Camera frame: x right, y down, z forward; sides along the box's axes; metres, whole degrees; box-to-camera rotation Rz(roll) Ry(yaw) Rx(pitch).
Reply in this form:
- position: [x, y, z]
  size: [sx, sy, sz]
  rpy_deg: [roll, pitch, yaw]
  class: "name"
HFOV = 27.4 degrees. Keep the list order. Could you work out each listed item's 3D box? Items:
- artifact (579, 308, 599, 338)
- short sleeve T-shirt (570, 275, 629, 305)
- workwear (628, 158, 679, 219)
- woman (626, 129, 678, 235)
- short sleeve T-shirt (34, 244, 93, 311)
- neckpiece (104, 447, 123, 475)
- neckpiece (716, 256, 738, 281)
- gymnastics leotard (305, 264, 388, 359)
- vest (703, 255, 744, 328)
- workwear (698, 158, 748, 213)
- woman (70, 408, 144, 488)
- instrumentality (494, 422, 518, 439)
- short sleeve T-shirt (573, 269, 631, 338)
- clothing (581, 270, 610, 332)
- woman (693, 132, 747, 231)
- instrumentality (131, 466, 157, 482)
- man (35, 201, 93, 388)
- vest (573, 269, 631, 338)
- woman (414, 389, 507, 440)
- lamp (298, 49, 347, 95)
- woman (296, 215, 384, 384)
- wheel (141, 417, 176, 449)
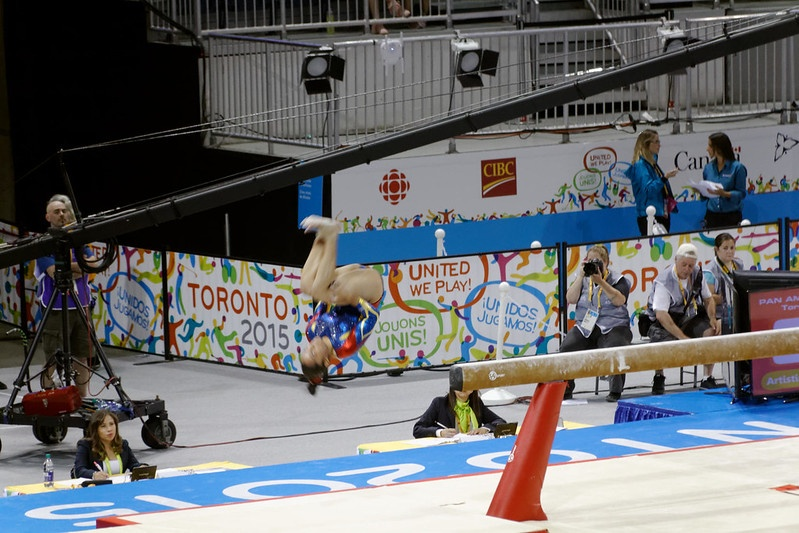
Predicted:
- position: [2.508, 0.759, 21.918]
  size: [0.232, 0.355, 0.089]
  rpy_deg: [23, 1, 31]
  class: "artifact"
- position: [2.617, 0.319, 21.931]
  size: [0.481, 0.504, 0.198]
  rpy_deg: [10, 53, 22]
  class: "short sleeve T-shirt"
- position: [3.779, -1.212, 24.746]
  size: [0.706, 0.856, 0.859]
  rpy_deg: [-5, 16, 13]
  class: "workwear"
- position: [3.764, -1.244, 24.673]
  size: [0.710, 1.864, 0.709]
  rpy_deg: [-5, 28, 14]
  class: "woman"
- position: [-4.472, 0.151, 21.552]
  size: [0.825, 1.076, 0.576]
  rpy_deg: [-1, -1, -23]
  class: "short sleeve T-shirt"
- position: [-3.462, 2.324, 19.562]
  size: [0.270, 0.366, 0.187]
  rpy_deg: [-1, -9, -29]
  class: "neckpiece"
- position: [4.392, 0.022, 22.036]
  size: [0.291, 0.212, 0.414]
  rpy_deg: [5, -11, -10]
  class: "neckpiece"
- position: [-0.674, 0.581, 18.908]
  size: [0.736, 0.433, 1.250]
  rpy_deg: [9, 52, 16]
  class: "gymnastics leotard"
- position: [4.162, 0.361, 21.161]
  size: [0.477, 0.978, 0.683]
  rpy_deg: [-3, 14, -3]
  class: "vest"
- position: [4.834, -1.227, 24.872]
  size: [0.831, 0.967, 0.668]
  rpy_deg: [3, 7, 43]
  class: "workwear"
- position: [-3.644, 2.178, 19.838]
  size: [0.771, 1.158, 0.783]
  rpy_deg: [-5, 7, -41]
  class: "woman"
- position: [1.213, 1.921, 19.382]
  size: [0.218, 0.161, 0.161]
  rpy_deg: [-4, 22, -30]
  class: "instrumentality"
- position: [2.712, 0.477, 22.105]
  size: [0.627, 0.900, 0.827]
  rpy_deg: [0, 2, -40]
  class: "short sleeve T-shirt"
- position: [2.573, 0.547, 21.830]
  size: [0.169, 0.758, 0.063]
  rpy_deg: [21, 32, 9]
  class: "clothing"
- position: [4.877, -1.281, 24.726]
  size: [0.627, 1.413, 0.676]
  rpy_deg: [0, 4, 11]
  class: "woman"
- position: [-2.991, 2.392, 18.803]
  size: [0.227, 0.171, 0.169]
  rpy_deg: [-3, 23, -33]
  class: "instrumentality"
- position: [-4.426, 0.550, 21.775]
  size: [0.858, 3.035, 0.844]
  rpy_deg: [-5, 21, -10]
  class: "man"
- position: [2.734, 0.476, 22.099]
  size: [0.608, 0.883, 0.855]
  rpy_deg: [0, 2, -33]
  class: "vest"
- position: [0.750, 1.854, 20.276]
  size: [1.362, 0.491, 0.655]
  rpy_deg: [-3, 16, -11]
  class: "woman"
- position: [-1.151, -2.820, 23.746]
  size: [0.593, 0.677, 0.272]
  rpy_deg: [2, 14, -1]
  class: "lamp"
- position: [-0.760, 0.392, 18.787]
  size: [0.896, 2.112, 1.141]
  rpy_deg: [11, 11, 39]
  class: "woman"
- position: [-3.133, 2.115, 21.028]
  size: [0.429, 0.443, 0.231]
  rpy_deg: [-2, 4, -9]
  class: "wheel"
